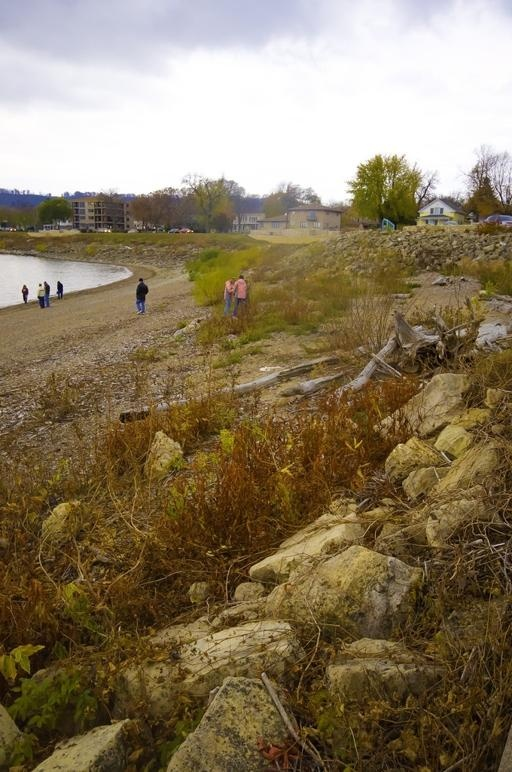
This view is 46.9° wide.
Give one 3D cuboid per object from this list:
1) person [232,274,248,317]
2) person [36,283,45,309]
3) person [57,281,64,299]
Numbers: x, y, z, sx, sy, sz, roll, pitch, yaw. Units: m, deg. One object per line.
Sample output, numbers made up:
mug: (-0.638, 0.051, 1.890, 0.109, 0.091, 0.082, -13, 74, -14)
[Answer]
person: (-0.464, -2.643, 16.989, 0.417, 1.124, 1.543, -3, 8, -2)
person: (-10.844, -4.572, 30.046, 0.301, 1.173, 1.202, -4, 8, -17)
person: (-11.364, -5.574, 34.372, 0.292, 0.981, 1.957, -5, 8, -20)
